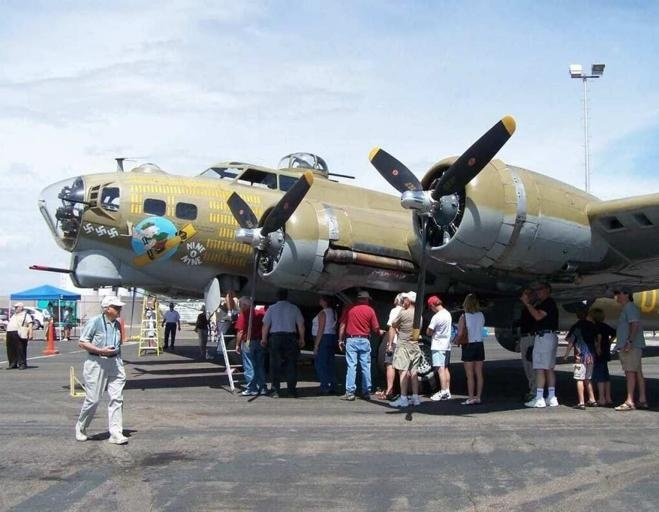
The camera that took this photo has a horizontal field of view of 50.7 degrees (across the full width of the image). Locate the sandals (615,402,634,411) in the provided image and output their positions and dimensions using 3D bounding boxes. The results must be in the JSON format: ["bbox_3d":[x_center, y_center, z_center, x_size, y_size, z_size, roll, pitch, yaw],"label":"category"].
[{"bbox_3d":[5.191,2.650,12.244,0.388,0.136,0.127,1,-8,8],"label":"sandals"}]

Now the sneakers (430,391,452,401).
[{"bbox_3d":[2.110,2.635,13.145,0.491,0.167,0.155,0,3,0],"label":"sneakers"}]

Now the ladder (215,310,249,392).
[{"bbox_3d":[-2.446,1.978,16.078,0.744,0.723,2.790,-12,34,-7],"label":"ladder"}]

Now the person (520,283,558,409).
[{"bbox_3d":[3.850,1.619,12.628,0.592,2.209,0.546,0,-2,15],"label":"person"}]

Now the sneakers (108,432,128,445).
[{"bbox_3d":[-2.984,2.581,9.868,0.317,0.116,0.130,1,-3,27],"label":"sneakers"}]

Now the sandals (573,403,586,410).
[{"bbox_3d":[4.453,2.663,12.381,0.099,0.085,0.255,-1,3,-25],"label":"sandals"}]

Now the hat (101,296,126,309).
[{"bbox_3d":[-3.190,0.667,10.209,0.298,0.116,0.180,1,0,-8],"label":"hat"}]

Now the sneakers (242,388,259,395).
[{"bbox_3d":[-1.588,2.676,13.841,0.398,0.135,0.153,6,-38,6],"label":"sneakers"}]

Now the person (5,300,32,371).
[{"bbox_3d":[-8.386,2.153,18.785,0.628,1.749,0.928,2,-2,-23],"label":"person"}]

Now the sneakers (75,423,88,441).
[{"bbox_3d":[-3.585,2.526,10.084,0.153,0.262,0.224,1,-2,-10],"label":"sneakers"}]

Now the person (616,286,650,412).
[{"bbox_3d":[5.371,1.640,12.375,0.512,2.113,0.612,0,-2,22],"label":"person"}]

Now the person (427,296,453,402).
[{"bbox_3d":[2.058,1.744,13.040,0.422,1.980,0.953,0,-2,9],"label":"person"}]

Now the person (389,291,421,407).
[{"bbox_3d":[1.391,1.696,12.679,0.520,2.055,0.477,1,-2,3],"label":"person"}]

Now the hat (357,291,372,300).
[{"bbox_3d":[0.672,0.763,13.684,0.300,0.127,0.363,1,1,6],"label":"hat"}]

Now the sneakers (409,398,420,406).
[{"bbox_3d":[1.584,2.641,12.761,0.109,0.118,0.292,-3,6,-8],"label":"sneakers"}]

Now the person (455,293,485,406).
[{"bbox_3d":[2.630,1.716,12.941,0.458,1.998,0.486,0,-2,8],"label":"person"}]

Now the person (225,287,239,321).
[{"bbox_3d":[-2.124,1.018,15.256,0.310,0.244,1.022,4,-20,-7],"label":"person"}]

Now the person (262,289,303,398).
[{"bbox_3d":[-0.922,1.808,13.685,0.796,1.868,0.588,1,-2,-5],"label":"person"}]

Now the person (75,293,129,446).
[{"bbox_3d":[-3.255,1.619,10.038,0.749,2.076,0.568,1,-2,-8],"label":"person"}]
